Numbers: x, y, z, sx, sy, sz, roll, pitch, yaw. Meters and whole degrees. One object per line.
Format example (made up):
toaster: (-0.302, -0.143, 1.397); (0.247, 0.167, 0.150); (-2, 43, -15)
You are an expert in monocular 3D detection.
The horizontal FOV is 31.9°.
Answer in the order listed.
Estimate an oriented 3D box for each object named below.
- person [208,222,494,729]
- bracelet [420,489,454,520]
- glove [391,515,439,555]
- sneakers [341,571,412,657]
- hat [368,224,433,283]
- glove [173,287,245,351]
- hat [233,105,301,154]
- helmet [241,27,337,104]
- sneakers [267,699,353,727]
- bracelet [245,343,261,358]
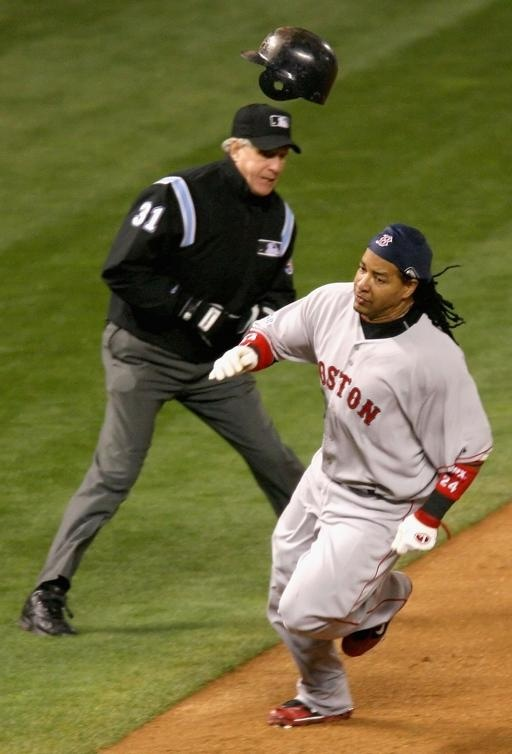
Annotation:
person: (0.268, 0.232, 2.453); (0.637, 1.248, 0.892); (-6, 32, -5)
bracelet: (0.454, 0.322, 2.266); (0.066, 0.057, 0.072); (13, 33, 24)
glove: (0.407, 0.413, 2.307); (0.101, 0.116, 0.037); (36, 14, 8)
sneakers: (0.323, 0.722, 2.697); (0.282, 0.197, 0.100); (-41, 84, -9)
hat: (0.377, -0.324, 2.341); (0.167, 0.140, 0.189); (1, 29, 5)
glove: (-0.168, -0.189, 3.233); (0.163, 0.106, 0.347); (25, 0, -19)
hat: (0.017, -0.886, 3.217); (0.269, 0.117, 0.184); (20, 17, 38)
helmet: (0.136, -1.230, 3.584); (0.357, 0.298, 0.337); (2, 30, 8)
sneakers: (0.145, 0.896, 2.405); (0.213, 0.064, 0.070); (3, -11, -12)
bracelet: (-0.009, -0.079, 2.639); (0.034, 0.026, 0.035); (50, 12, 28)
